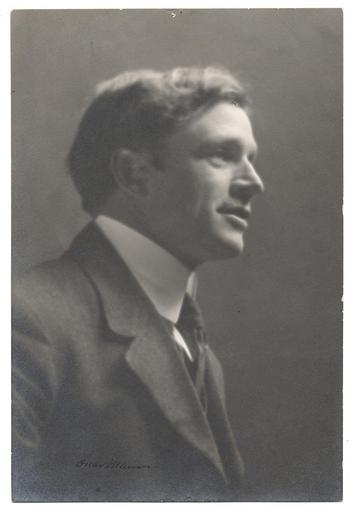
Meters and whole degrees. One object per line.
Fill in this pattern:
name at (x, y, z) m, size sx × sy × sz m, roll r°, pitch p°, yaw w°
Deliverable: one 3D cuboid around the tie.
tie at (0.070, 0.575, 5.913) m, size 0.166 × 0.179 × 0.688 m, roll -15°, pitch 61°, yaw 4°
